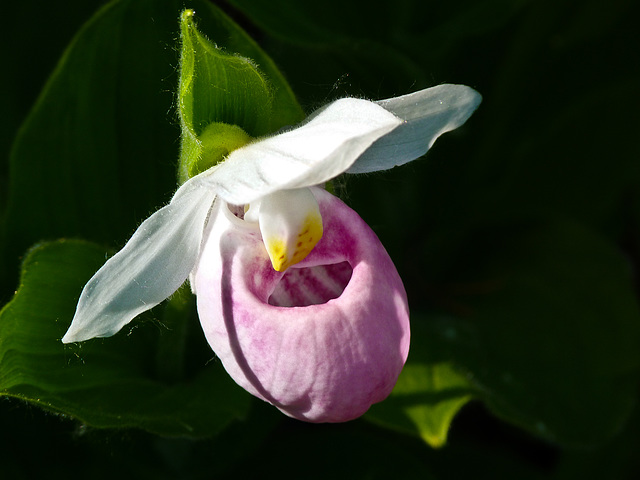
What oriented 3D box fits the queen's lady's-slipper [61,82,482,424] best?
[{"bbox_3d":[-0.034,0.063,1.480,0.752,0.784,0.534,5,13,25],"label":"queen's lady's-slipper"}]
